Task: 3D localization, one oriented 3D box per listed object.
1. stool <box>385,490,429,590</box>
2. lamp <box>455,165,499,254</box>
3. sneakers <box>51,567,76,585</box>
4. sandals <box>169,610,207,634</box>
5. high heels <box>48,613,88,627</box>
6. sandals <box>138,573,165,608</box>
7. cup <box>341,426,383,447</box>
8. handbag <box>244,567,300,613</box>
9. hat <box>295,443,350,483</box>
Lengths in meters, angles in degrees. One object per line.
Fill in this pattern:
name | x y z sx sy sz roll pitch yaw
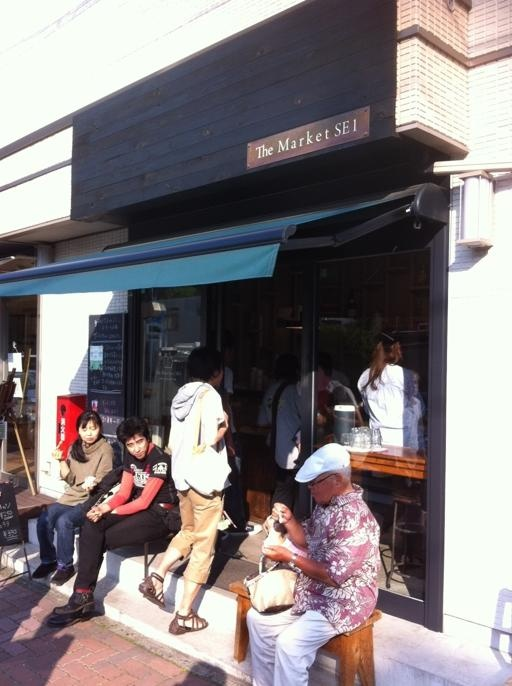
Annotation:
stool | 0.872 1.196 3.619 0.179 0.524 0.362 -6 2 -31
lamp | 1.168 -0.696 3.210 0.218 0.311 0.242 -5 2 29
sneakers | -1.478 1.783 4.606 0.080 0.089 0.210 3 3 12
sandals | -0.415 1.721 3.685 0.211 0.104 0.109 -3 5 -41
high heels | -1.252 1.837 3.960 0.179 0.078 0.111 11 -11 -35
sandals | -0.634 1.634 3.917 0.097 0.133 0.300 7 -29 32
cup | 0.702 0.633 4.047 0.189 0.102 0.125 1 -3 6
handbag | 0.074 1.175 2.869 0.223 0.253 0.151 -5 -9 -7
hat | 0.303 0.579 2.736 0.219 0.129 0.156 -9 6 -12
